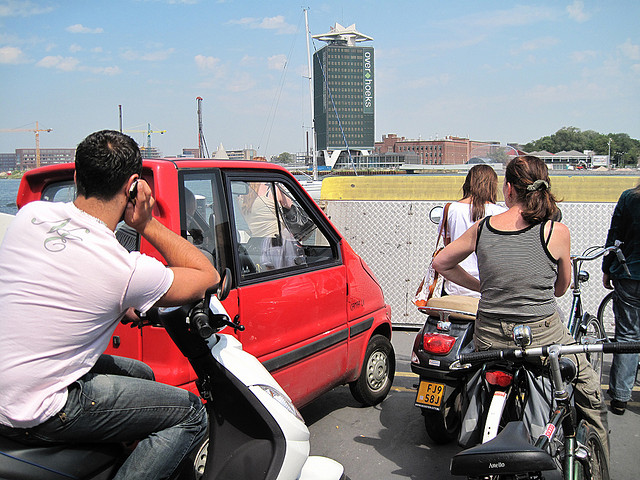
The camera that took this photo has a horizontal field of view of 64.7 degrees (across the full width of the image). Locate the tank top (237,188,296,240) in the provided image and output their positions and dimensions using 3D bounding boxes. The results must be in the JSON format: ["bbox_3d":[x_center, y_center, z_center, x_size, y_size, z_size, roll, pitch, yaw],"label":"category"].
[{"bbox_3d":[-0.489,-0.201,4.120,0.113,0.415,0.570,1,7,16],"label":"tank top"}]

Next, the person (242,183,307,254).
[{"bbox_3d":[-0.417,-0.241,4.378,0.359,0.723,0.529,-12,18,20],"label":"person"}]

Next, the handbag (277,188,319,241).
[{"bbox_3d":[-0.209,-0.216,4.613,0.463,0.305,0.120,39,22,-27],"label":"handbag"}]

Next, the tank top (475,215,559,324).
[{"bbox_3d":[1.284,0.148,3.356,0.519,0.740,0.398,-3,-2,35],"label":"tank top"}]

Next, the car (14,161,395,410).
[{"bbox_3d":[-0.840,0.554,4.670,1.825,2.189,3.404,-1,1,29],"label":"car"}]

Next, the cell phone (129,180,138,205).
[{"bbox_3d":[-0.859,-0.220,2.330,0.024,0.080,0.056,3,7,10],"label":"cell phone"}]

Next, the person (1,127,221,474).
[{"bbox_3d":[-0.953,0.295,2.274,0.860,1.567,0.346,-4,7,-20],"label":"person"}]

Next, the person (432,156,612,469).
[{"bbox_3d":[1.461,0.513,3.590,1.127,2.096,0.873,0,1,-31],"label":"person"}]
